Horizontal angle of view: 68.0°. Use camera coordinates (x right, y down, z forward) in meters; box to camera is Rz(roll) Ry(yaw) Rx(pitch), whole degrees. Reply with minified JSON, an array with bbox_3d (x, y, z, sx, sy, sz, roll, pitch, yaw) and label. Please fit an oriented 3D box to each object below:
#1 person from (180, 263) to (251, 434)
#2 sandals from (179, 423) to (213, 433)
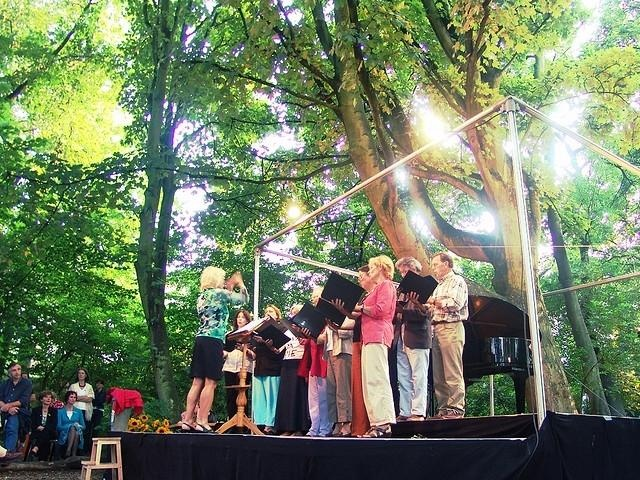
[{"bbox_3d":[-1.489,1.471,6.451,0.781,2.341,0.928,9,-7,-29],"label":"person"},{"bbox_3d":[-1.693,2.556,6.466,0.441,0.127,0.186,2,-27,-2],"label":"sandals"}]
